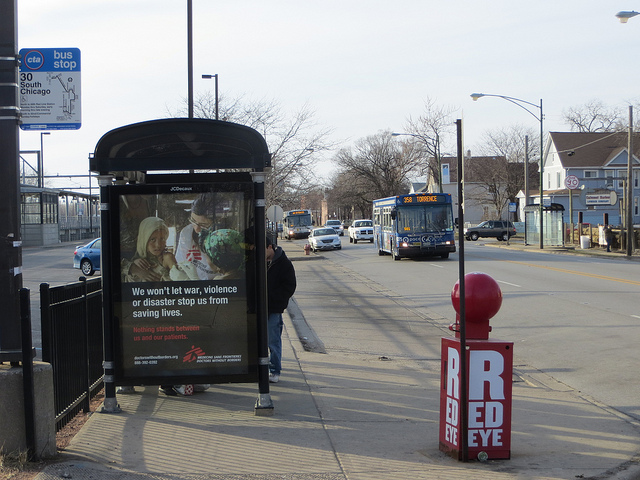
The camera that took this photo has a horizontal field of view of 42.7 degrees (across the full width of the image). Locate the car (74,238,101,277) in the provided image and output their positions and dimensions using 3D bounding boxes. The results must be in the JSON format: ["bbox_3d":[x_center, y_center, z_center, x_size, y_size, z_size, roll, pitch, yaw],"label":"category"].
[{"bbox_3d":[-8.251,0.638,29.018,0.787,1.209,1.837,-4,2,-22],"label":"car"}]

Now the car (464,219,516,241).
[{"bbox_3d":[11.894,-0.843,57.301,3.402,1.517,1.598,3,0,9],"label":"car"}]

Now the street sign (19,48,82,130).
[{"bbox_3d":[-3.013,-1.698,9.144,0.663,0.867,0.427,-4,2,-10],"label":"street sign"}]

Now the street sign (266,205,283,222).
[{"bbox_3d":[-1.744,-1.068,31.476,0.631,0.662,0.150,4,-3,24],"label":"street sign"}]

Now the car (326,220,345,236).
[{"bbox_3d":[1.739,-1.410,82.999,1.188,1.149,2.664,-1,-2,-4],"label":"car"}]

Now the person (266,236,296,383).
[{"bbox_3d":[-0.518,0.915,10.724,0.402,1.506,0.603,-4,2,-2],"label":"person"}]

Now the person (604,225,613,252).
[{"bbox_3d":[13.059,-0.068,37.059,0.331,1.178,1.663,-3,2,19],"label":"person"}]

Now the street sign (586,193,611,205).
[{"bbox_3d":[13.790,-2.105,40.654,1.116,0.629,1.284,-3,2,18],"label":"street sign"}]
